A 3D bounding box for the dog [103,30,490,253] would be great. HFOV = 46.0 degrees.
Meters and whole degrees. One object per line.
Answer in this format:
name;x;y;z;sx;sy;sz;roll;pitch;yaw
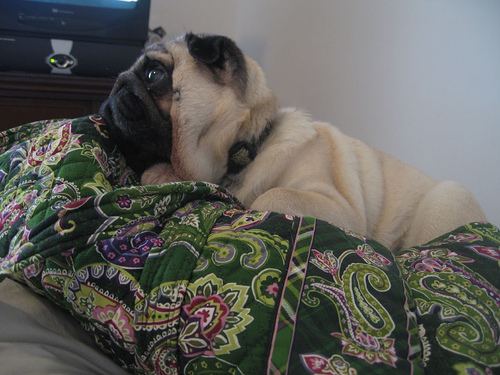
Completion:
dog;0.121;-0.097;2.250;1.254;0.625;0.721;11;-12;-9
